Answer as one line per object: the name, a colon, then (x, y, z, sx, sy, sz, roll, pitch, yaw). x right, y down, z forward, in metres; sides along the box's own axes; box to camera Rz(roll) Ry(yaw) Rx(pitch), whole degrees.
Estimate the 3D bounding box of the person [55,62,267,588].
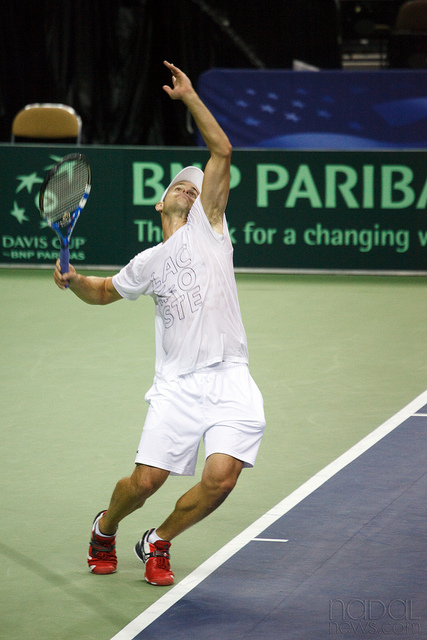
person: (-0.180, 0.025, 3.017, 0.781, 2.143, 0.749, -1, 6, 3)
